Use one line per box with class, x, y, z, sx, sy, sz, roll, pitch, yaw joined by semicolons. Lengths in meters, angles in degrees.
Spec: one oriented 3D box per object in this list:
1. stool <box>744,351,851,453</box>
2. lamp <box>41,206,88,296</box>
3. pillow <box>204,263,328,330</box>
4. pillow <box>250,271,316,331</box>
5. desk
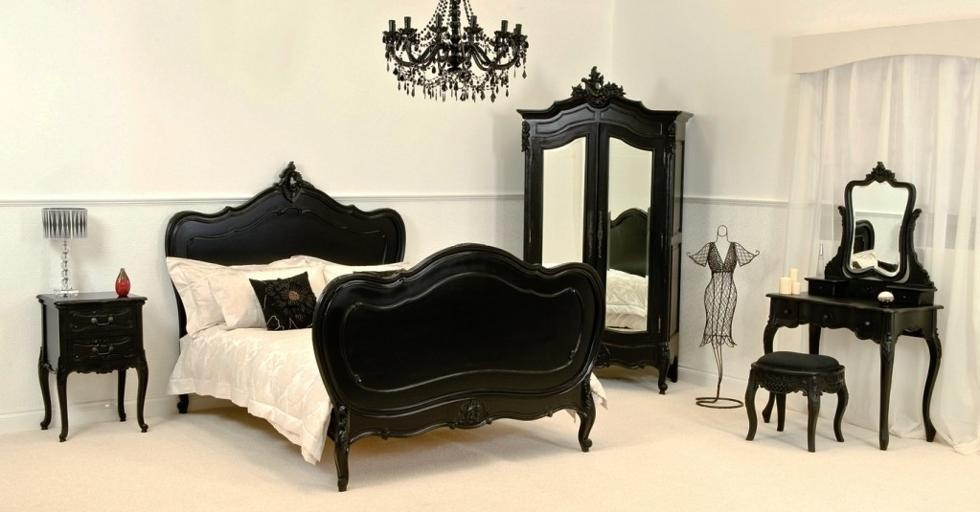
stool;2.978;1.425;6.842;1.099;0.998;0.953;2;2;10
lamp;-4.222;-0.056;6.896;0.373;0.864;0.248;-4;9;-27
pillow;-2.220;0.447;7.455;0.280;0.453;0.880;-12;-1;32
pillow;-2.130;0.523;7.296;0.869;0.216;0.843;10;18;-43
desk;3.687;1.162;6.923;0.888;1.255;1.626;-1;2;-40
